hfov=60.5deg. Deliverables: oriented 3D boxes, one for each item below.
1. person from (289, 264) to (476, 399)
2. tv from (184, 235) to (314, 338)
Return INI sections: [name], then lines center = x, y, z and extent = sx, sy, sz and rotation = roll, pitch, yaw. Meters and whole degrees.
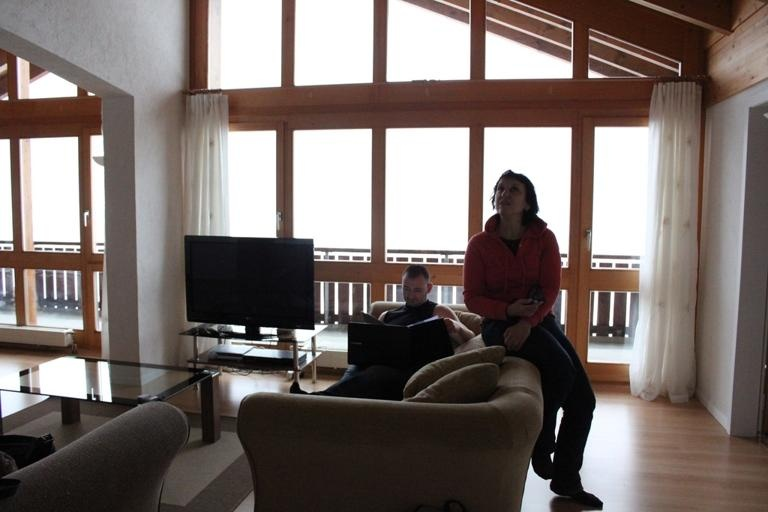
[person]
center = -0.041, 0.644, 5.124
extent = 1.068, 1.110, 1.827
rotation = 0, 2, 34
[tv]
center = -1.228, 0.260, 6.088
extent = 0.883, 0.691, 0.095
rotation = 1, 5, 11
